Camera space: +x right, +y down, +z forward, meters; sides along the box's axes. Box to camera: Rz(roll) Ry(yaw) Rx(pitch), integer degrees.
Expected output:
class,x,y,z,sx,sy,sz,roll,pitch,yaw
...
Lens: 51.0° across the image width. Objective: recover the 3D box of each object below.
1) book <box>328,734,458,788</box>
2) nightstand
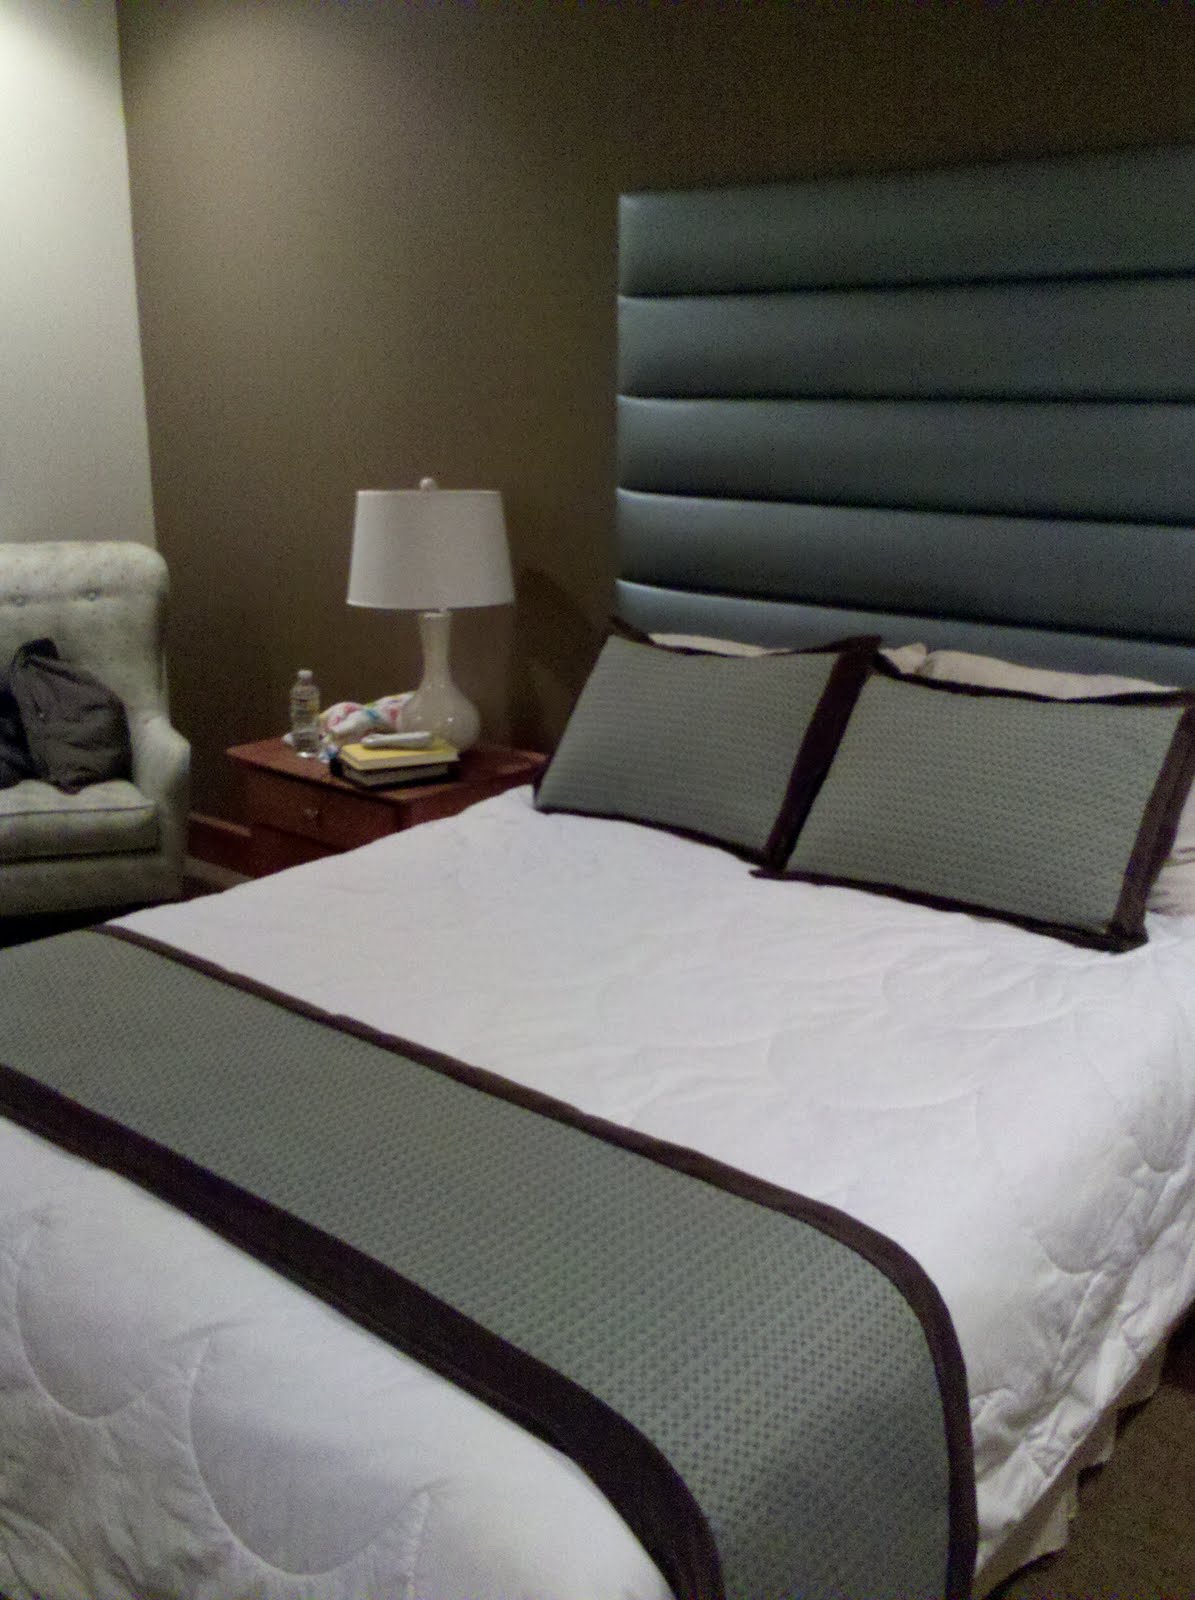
class,x,y,z,sx,sy,sz,roll,pitch,yaw
book,-0.443,-0.090,2.850,0.165,0.038,0.163,-12,18,-41
nightstand,-0.506,-0.128,2.996,0.376,0.507,0.537,-15,20,-42
